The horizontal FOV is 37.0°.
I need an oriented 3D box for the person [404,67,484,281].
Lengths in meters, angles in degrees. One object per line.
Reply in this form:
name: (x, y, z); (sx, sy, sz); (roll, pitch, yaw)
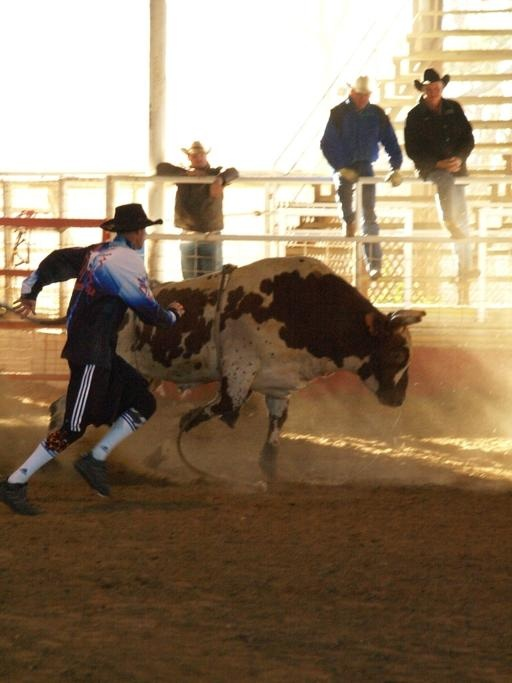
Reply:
person: (1.786, -1.608, 7.332); (0.729, 1.976, 0.472); (3, 5, 37)

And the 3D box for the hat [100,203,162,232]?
hat: (-0.688, -0.675, 4.232); (0.277, 0.077, 0.197); (-7, 17, -2)

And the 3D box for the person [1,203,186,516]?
person: (-0.908, 0.098, 4.349); (0.980, 1.741, 0.604); (0, 4, -5)

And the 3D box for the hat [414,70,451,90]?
hat: (1.684, -2.552, 7.341); (0.335, 0.113, 0.341); (-6, -7, 6)
